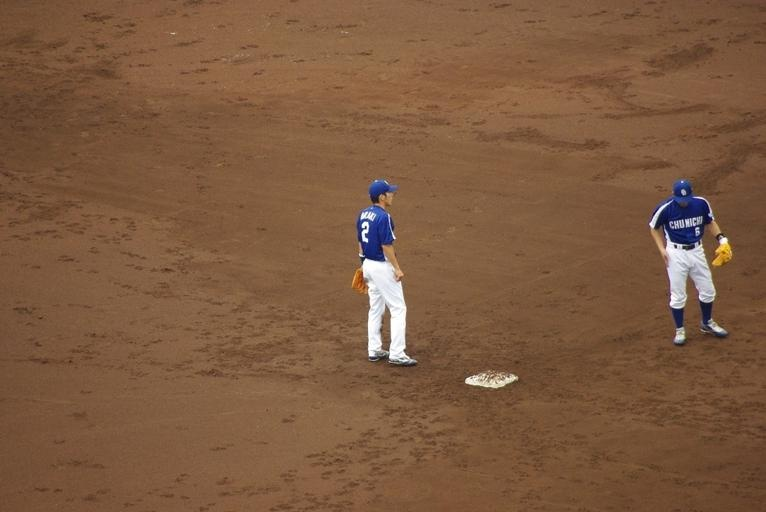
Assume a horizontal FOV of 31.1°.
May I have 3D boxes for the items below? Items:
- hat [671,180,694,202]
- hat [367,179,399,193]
[{"bbox_3d":[5.923,-1.338,27.528,0.477,0.299,0.482,-5,64,6],"label":"hat"},{"bbox_3d":[-0.042,-1.369,27.618,0.510,0.355,0.447,8,35,4],"label":"hat"}]
